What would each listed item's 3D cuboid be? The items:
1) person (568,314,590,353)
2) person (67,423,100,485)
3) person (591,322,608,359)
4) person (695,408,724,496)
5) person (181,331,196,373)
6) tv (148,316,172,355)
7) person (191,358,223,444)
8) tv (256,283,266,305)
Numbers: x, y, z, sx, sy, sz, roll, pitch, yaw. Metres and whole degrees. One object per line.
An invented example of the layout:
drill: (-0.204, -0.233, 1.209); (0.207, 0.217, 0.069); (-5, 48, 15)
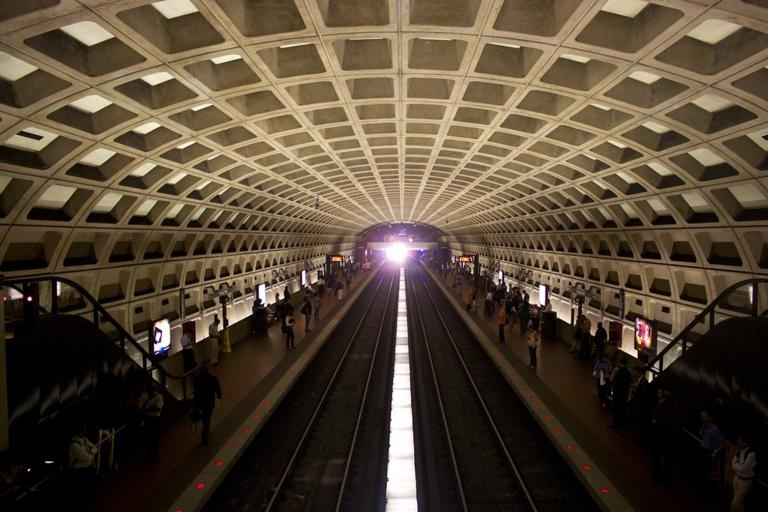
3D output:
person: (8.537, 3.506, 19.379); (0.587, 1.733, 1.373); (2, 12, 8)
person: (-7.650, 5.089, 11.302); (0.627, 1.299, 0.869); (-7, 15, -33)
person: (8.888, 3.647, 18.289); (0.486, 1.373, 1.547); (6, 14, 25)
person: (8.480, 5.168, 11.631); (0.503, 2.200, 0.653); (5, 13, 22)
person: (-7.361, 3.600, 16.705); (0.576, 1.715, 0.395); (6, 13, 24)
tv: (-8.690, 3.218, 17.239); (0.367, 1.420, 0.827); (5, 13, 21)
person: (-5.321, 4.380, 13.161); (0.732, 2.374, 0.691); (4, 12, 17)
tv: (-7.715, 2.424, 27.754); (0.455, 1.431, 1.482); (-1, -1, 7)
